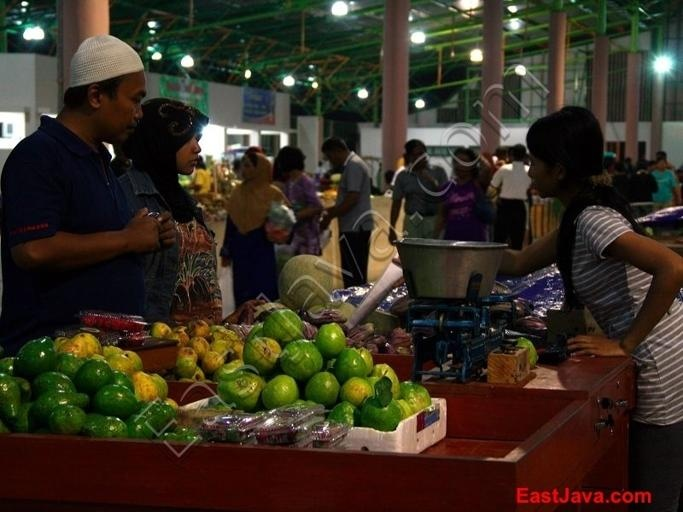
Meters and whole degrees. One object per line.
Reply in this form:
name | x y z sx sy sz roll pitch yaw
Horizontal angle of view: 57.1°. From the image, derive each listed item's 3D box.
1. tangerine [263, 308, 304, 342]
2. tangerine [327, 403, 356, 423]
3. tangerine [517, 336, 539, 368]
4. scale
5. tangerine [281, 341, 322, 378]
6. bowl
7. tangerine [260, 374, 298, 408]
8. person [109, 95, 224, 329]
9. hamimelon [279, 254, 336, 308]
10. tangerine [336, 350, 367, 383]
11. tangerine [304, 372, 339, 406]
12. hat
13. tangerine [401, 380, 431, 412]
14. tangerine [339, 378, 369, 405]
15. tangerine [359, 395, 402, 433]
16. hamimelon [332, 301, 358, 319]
tangerine | -0.144 0.186 1.706 0.092 0.085 0.083 33 -10 -34
tangerine | 0.008 0.346 1.401 0.041 0.043 0.039 2 -5 -17
tangerine | 0.594 0.304 1.977 0.072 0.104 0.101 1 -19 -3
scale | 0.366 0.153 1.905 0.324 0.459 0.527 0 -1 27
tangerine | -0.105 0.276 1.581 0.110 0.122 0.097 0 -22 0
bowl | 0.312 0.048 1.801 0.304 0.184 0.202 3 8 12
tangerine | -0.147 0.328 1.516 0.093 0.095 0.089 9 -7 -41
person | -0.679 -0.141 2.515 0.310 0.918 0.631 5 23 12
hamimelon | -0.220 0.171 3.557 0.277 0.370 0.292 2 -8 9
tangerine | 0.026 0.266 1.555 0.062 0.086 0.070 -1 14 -1
tangerine | -0.049 0.308 1.538 0.074 0.082 0.073 -6 13 -1
hat | -0.728 -0.588 1.932 0.233 0.168 0.231 -1 13 28
tangerine | 0.169 0.334 1.522 0.057 0.078 0.058 -10 20 44
tangerine | 0.028 0.320 1.488 0.055 0.058 0.053 21 -30 5
tangerine | 0.081 0.336 1.358 0.065 0.070 0.064 0 3 1
hamimelon | 0.012 0.281 3.238 0.083 0.088 0.083 0 -6 1
